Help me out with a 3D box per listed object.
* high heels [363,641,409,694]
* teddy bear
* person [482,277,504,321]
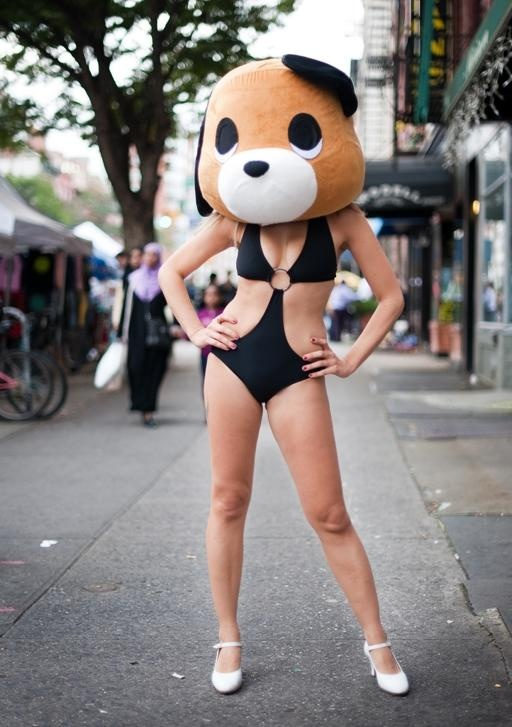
[{"bbox_3d":[0.382,0.886,2.158,0.071,0.077,0.203,-6,10,-8],"label":"high heels"},{"bbox_3d":[0.073,0.037,2.181,0.774,1.895,0.429,1,4,5],"label":"teddy bear"},{"bbox_3d":[2.903,-0.774,8.918,0.213,0.516,2.145,2,4,18],"label":"person"}]
